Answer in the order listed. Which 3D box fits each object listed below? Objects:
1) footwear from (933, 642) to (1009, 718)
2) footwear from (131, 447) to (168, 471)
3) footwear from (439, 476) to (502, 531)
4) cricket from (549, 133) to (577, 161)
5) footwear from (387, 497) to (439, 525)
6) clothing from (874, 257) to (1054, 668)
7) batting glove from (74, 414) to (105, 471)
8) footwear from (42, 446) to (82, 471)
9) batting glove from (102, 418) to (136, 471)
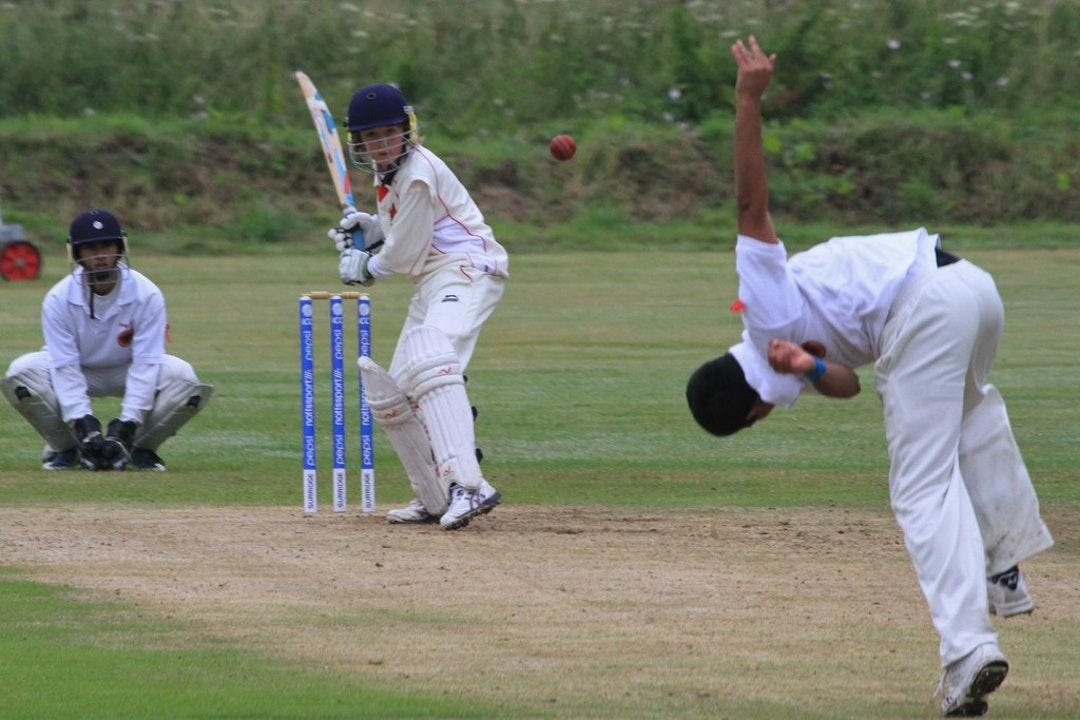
[{"bbox_3d":[2.974,2.207,16.207,0.326,0.684,0.329,4,48,-28],"label":"footwear"},{"bbox_3d":[-3.178,0.800,19.070,0.274,0.052,0.162,13,44,-11],"label":"footwear"},{"bbox_3d":[-0.547,1.109,17.924,0.366,0.392,0.310,-8,15,-38],"label":"footwear"},{"bbox_3d":[0.191,-1.684,18.415,0.170,0.212,0.448,2,10,4],"label":"cricket"},{"bbox_3d":[-0.975,1.174,18.151,0.370,0.118,0.195,1,3,15],"label":"footwear"},{"bbox_3d":[2.981,0.694,16.391,0.946,2.757,0.926,-5,14,-27],"label":"clothing"},{"bbox_3d":[-3.638,0.655,18.919,0.319,0.460,0.171,11,16,39],"label":"batting glove"},{"bbox_3d":[-3.872,0.791,19.112,0.295,0.166,0.127,-16,-24,10],"label":"footwear"},{"bbox_3d":[-3.360,0.667,18.936,0.296,0.428,0.143,-4,14,-24],"label":"batting glove"}]
